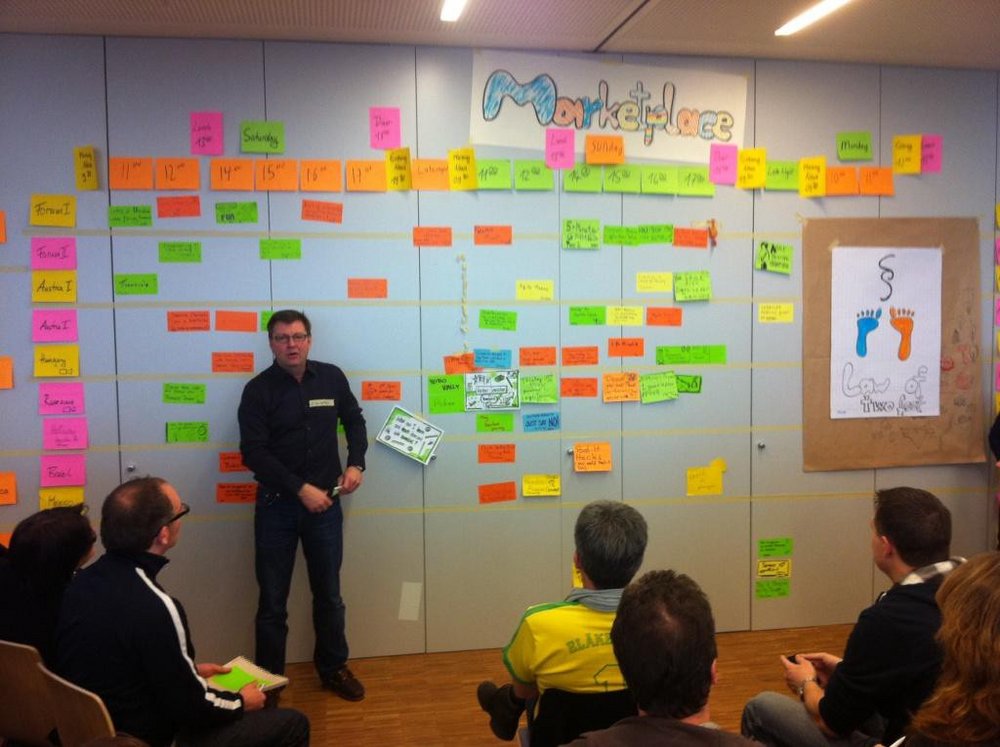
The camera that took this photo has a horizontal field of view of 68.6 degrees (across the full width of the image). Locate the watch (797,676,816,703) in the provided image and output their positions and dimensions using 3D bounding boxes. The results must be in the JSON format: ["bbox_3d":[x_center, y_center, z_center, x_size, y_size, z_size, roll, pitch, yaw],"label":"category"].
[{"bbox_3d":[1.110,1.148,2.668,0.058,0.089,0.083,3,6,19],"label":"watch"}]

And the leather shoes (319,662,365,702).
[{"bbox_3d":[-0.787,1.537,3.714,0.290,0.114,0.104,6,4,43],"label":"leather shoes"}]

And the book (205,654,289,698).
[{"bbox_3d":[-0.981,1.193,2.930,0.213,0.058,0.215,10,4,39],"label":"book"}]
